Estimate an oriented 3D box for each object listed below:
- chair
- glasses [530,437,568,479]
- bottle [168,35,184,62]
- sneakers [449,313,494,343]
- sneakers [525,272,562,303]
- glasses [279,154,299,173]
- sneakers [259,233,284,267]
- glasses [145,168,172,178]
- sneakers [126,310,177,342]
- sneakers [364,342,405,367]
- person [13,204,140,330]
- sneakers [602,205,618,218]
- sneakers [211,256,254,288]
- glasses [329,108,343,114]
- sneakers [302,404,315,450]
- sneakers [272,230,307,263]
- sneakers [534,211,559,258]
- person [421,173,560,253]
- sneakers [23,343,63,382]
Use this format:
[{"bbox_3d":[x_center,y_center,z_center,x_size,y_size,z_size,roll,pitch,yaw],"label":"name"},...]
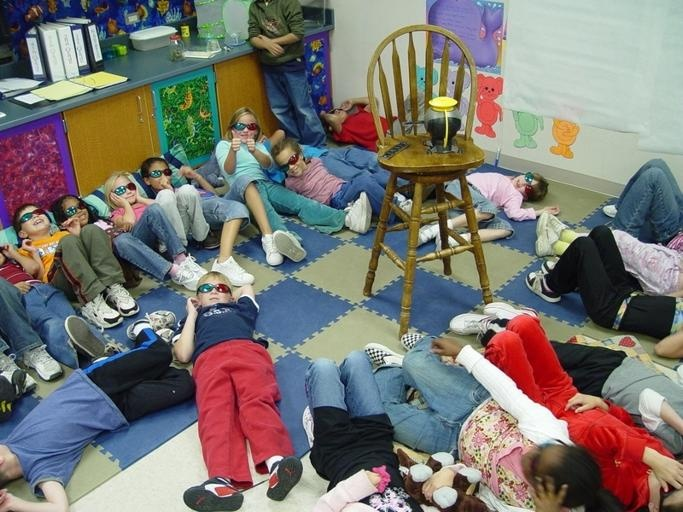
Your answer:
[{"bbox_3d":[0.484,-0.434,2.722,0.708,1.542,0.549,-9,28,-9],"label":"chair"},{"bbox_3d":[0.617,0.587,1.464,0.084,0.098,0.113,15,16,27],"label":"glasses"},{"bbox_3d":[-1.421,-1.772,4.143,0.120,0.191,0.283,-10,27,-14],"label":"bottle"},{"bbox_3d":[0.702,0.385,2.619,0.264,0.089,0.103,-1,14,13],"label":"sneakers"},{"bbox_3d":[1.197,0.187,2.950,0.105,0.112,0.238,-24,45,-19],"label":"sneakers"},{"bbox_3d":[-0.387,-0.726,3.712,0.139,0.156,0.066,-23,3,-4],"label":"glasses"},{"bbox_3d":[-0.478,-0.034,3.357,0.094,0.110,0.266,-17,60,-4],"label":"sneakers"},{"bbox_3d":[-1.311,-0.593,3.492,0.160,0.064,0.075,-16,29,-27],"label":"glasses"},{"bbox_3d":[-1.039,0.391,2.725,0.288,0.139,0.111,-30,3,-29],"label":"sneakers"},{"bbox_3d":[0.198,0.494,2.404,0.226,0.082,0.089,18,-8,16],"label":"sneakers"},{"bbox_3d":[-1.678,0.012,3.006,1.042,0.539,0.525,19,32,31],"label":"person"},{"bbox_3d":[1.977,-0.345,3.550,0.098,0.044,0.130,6,49,24],"label":"sneakers"},{"bbox_3d":[-0.695,0.105,3.117,0.324,0.136,0.132,22,35,15],"label":"sneakers"},{"bbox_3d":[-0.063,-1.397,4.717,0.078,0.047,0.102,-20,9,-30],"label":"glasses"},{"bbox_3d":[-0.136,0.726,2.057,0.044,0.164,0.096,-2,3,-1],"label":"sneakers"},{"bbox_3d":[-0.351,-0.064,3.273,0.140,0.265,0.105,-46,3,0],"label":"sneakers"},{"bbox_3d":[1.392,-0.137,3.308,0.132,0.342,0.150,31,-22,-36],"label":"sneakers"},{"bbox_3d":[1.072,-0.364,3.569,0.896,0.269,0.594,-13,38,-8],"label":"person"},{"bbox_3d":[-1.583,0.540,2.547,0.260,0.107,0.117,21,26,22],"label":"sneakers"}]
